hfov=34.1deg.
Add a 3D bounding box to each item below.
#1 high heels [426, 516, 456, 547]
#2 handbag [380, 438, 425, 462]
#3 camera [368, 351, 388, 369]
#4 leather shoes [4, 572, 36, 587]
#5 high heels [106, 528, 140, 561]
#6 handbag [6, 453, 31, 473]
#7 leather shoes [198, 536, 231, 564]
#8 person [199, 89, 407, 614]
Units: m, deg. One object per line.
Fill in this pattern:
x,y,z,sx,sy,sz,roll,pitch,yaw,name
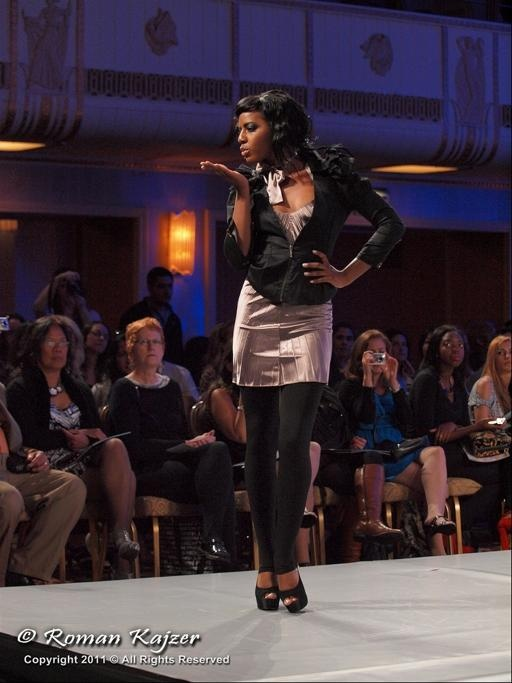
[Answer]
0.872,0.900,4.050,0.050,0.059,0.175,-40,8,-39,high heels
0.765,0.583,4.441,0.177,0.054,0.151,-17,8,-30,handbag
0.658,0.085,4.565,0.131,0.074,0.068,2,-7,-28,camera
-0.963,0.969,3.386,0.100,0.066,0.177,-2,-8,-10,leather shoes
-0.567,0.886,3.631,0.092,0.105,0.264,-8,-7,-29,high heels
-1.024,0.532,3.598,0.117,0.092,0.065,0,-7,1,handbag
-0.180,0.913,3.651,0.067,0.068,0.187,6,-11,-36,leather shoes
0.164,-0.015,2.222,0.490,1.410,0.364,-5,-9,3,person
